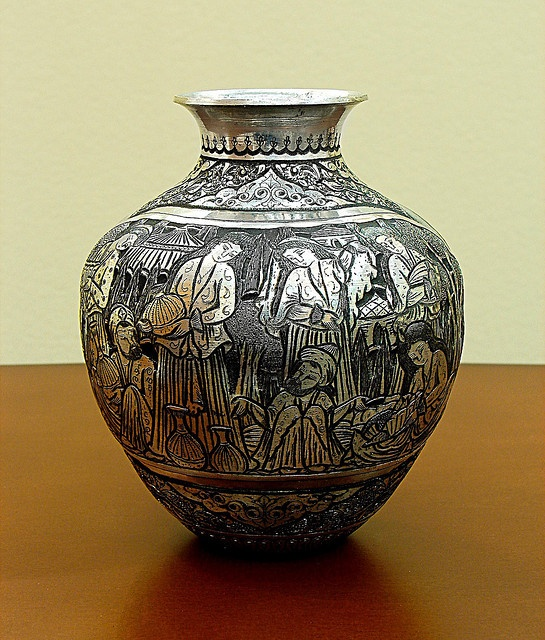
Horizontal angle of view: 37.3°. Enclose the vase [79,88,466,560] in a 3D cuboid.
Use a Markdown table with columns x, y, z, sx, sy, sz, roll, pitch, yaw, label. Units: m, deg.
| x | y | z | sx | sy | sz | roll | pitch | yaw | label |
| --- | --- | --- | --- | --- | --- | --- | --- | --- | --- |
| 0.077 | 0.070 | 1.261 | 0.605 | 0.524 | 0.515 | 2 | -7 | 27 | vase |
